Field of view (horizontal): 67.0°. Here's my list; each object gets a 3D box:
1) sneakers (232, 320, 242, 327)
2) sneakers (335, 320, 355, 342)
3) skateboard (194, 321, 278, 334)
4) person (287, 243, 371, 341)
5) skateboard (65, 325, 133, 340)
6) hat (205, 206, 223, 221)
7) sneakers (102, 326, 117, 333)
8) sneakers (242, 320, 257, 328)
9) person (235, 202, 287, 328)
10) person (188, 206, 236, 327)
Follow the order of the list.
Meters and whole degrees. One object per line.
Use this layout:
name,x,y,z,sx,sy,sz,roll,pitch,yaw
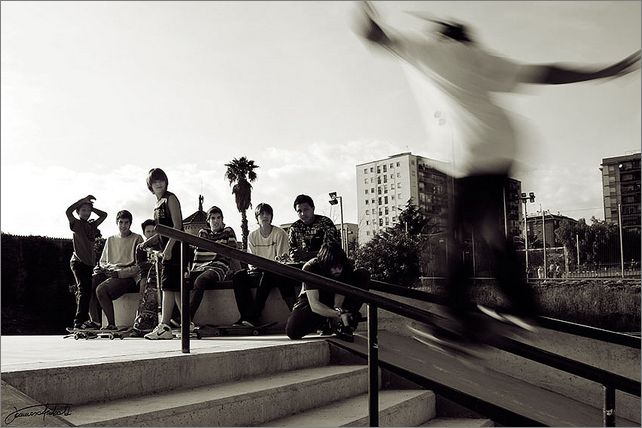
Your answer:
sneakers,-1.416,1.863,8.274,0.145,0.123,0.241,0,-5,-22
sneakers,0.360,1.586,6.532,0.250,0.293,0.418,-1,-5,-5
skateboard,-1.374,1.945,8.299,0.867,0.165,0.218,-2,-5,6
person,0.201,1.085,6.825,1.086,1.354,1.699,1,-5,-26
skateboard,-3.824,2.059,8.401,1.227,0.198,0.328,-1,4,9
hat,-1.709,0.004,7.928,0.166,0.237,0.096,2,1,-10
sneakers,-3.658,2.007,8.401,0.241,0.113,0.099,4,-9,5
sneakers,-1.165,1.854,8.178,0.257,0.116,0.133,-3,-5,19
person,-1.035,0.873,8.492,0.888,2.115,0.769,-3,-5,24
person,-1.860,0.888,8.462,0.790,2.029,0.887,0,-4,-14
